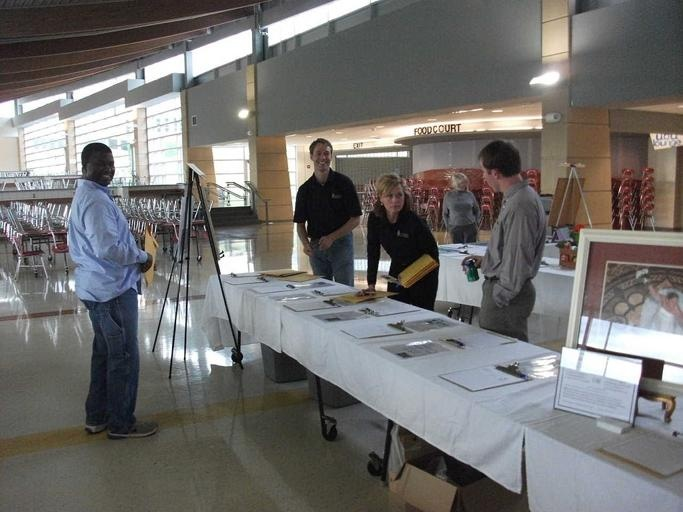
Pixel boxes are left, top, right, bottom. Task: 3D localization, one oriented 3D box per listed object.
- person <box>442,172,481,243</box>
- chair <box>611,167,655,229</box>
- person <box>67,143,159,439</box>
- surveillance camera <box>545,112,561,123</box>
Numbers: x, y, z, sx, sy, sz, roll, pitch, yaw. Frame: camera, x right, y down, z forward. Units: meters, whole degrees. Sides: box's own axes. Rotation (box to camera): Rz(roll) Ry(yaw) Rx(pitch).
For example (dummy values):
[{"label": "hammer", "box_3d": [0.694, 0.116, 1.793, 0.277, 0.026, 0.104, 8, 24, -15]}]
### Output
[{"label": "person", "box_3d": [1.827, -0.532, 7.293, 0.465, 1.421, 0.362, 0, 26, 19]}, {"label": "chair", "box_3d": [8.069, -1.520, 13.408, 1.076, 1.711, 2.680, 2, 8, 34]}, {"label": "person", "box_3d": [-1.431, 0.218, 2.982, 0.477, 1.800, 0.330, -2, 7, 9]}, {"label": "surveillance camera", "box_3d": [3.922, -2.556, 8.985, 0.137, 0.203, 0.340, -7, 8, -26]}]
